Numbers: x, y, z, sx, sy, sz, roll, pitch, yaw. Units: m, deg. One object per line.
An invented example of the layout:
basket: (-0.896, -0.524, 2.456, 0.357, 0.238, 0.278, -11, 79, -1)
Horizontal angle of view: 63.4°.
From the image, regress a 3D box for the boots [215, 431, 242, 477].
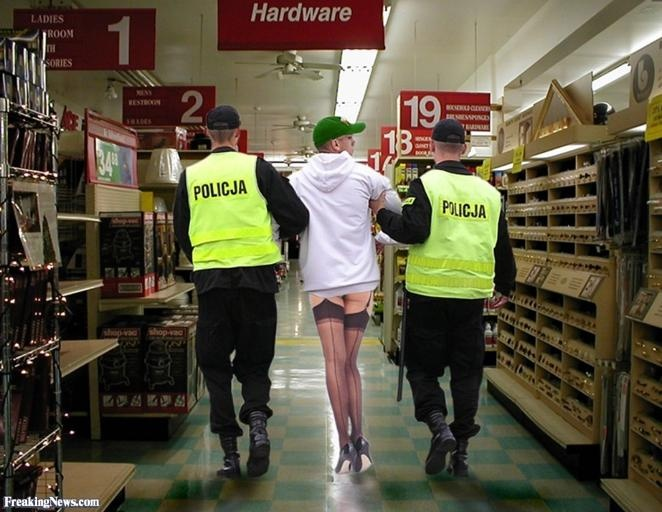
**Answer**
boots: (-0.602, 1.207, 3.233, 0.115, 0.273, 0.211, -1, 4, -10)

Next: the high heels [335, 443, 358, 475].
high heels: (0.102, 1.270, 3.357, 0.122, 0.212, 0.074, -1, 3, -18)

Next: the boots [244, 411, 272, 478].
boots: (-0.408, 1.102, 3.107, 0.126, 0.366, 0.195, -1, 3, -9)

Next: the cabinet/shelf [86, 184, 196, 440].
cabinet/shelf: (-1.389, 0.462, 3.911, 0.584, 1.828, 1.824, -1, 2, -4)

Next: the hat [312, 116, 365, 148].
hat: (0.055, -0.852, 3.606, 0.385, 0.187, 0.249, -14, 12, -4)

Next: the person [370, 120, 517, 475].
person: (0.782, 0.281, 3.405, 0.876, 2.301, 0.600, -2, 3, -25)

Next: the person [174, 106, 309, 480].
person: (-0.530, 0.210, 3.361, 0.715, 2.273, 0.577, 2, 4, 36)
